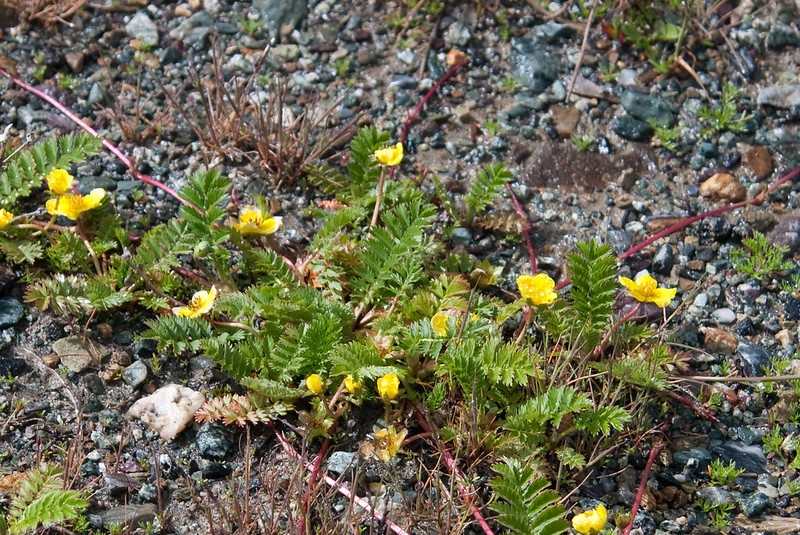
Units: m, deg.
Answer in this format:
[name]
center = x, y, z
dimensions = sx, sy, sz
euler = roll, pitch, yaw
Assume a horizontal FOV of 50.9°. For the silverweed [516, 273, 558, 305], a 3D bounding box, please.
[silverweed]
center = 0.663, 0.115, 4.071
dimensions = 0.169, 0.084, 0.158
euler = -30, 79, -10
